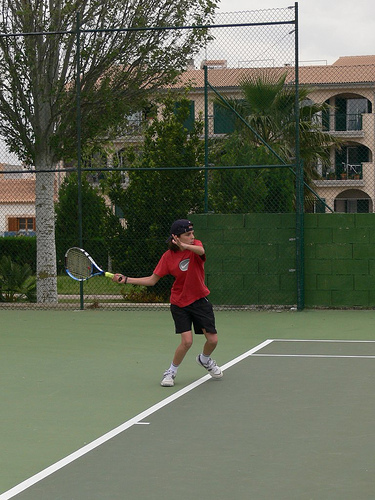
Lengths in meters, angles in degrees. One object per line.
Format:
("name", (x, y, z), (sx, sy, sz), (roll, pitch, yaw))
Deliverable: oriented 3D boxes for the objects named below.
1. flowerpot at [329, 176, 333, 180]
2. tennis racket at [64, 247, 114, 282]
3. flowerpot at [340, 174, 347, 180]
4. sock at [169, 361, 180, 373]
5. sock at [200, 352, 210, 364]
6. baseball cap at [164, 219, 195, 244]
("flowerpot", (6.369, -3.161, 32.118), (0.151, 0.128, 0.309), (-1, 0, 11))
("tennis racket", (-0.811, 0.106, 6.273), (0.037, 0.448, 0.184), (39, 7, -1))
("flowerpot", (7.017, -3.264, 32.524), (0.206, 0.215, 0.211), (-3, 5, -26))
("sock", (-0.123, 1.046, 6.429), (0.037, 0.108, 0.107), (17, 36, 40))
("sock", (0.159, 0.961, 6.479), (0.088, 0.091, 0.066), (-2, 0, -2))
("baseball cap", (-0.064, -0.151, 6.344), (0.253, 0.135, 0.161), (-28, 12, 3))
